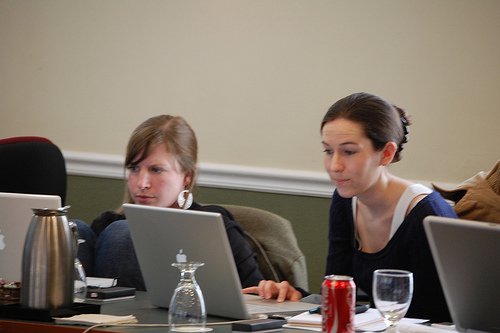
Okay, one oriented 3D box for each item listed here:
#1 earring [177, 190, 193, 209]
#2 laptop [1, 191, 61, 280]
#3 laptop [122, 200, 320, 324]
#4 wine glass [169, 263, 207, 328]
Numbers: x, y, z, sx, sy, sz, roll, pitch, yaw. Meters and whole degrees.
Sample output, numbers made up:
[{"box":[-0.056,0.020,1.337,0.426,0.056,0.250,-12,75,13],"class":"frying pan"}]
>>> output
[{"box":[-0.326,0.177,2.142,0.090,0.081,0.018,1,-2,-37],"class":"earring"},{"box":[-0.776,0.242,1.456,0.268,0.298,0.091,-5,-14,23],"class":"laptop"},{"box":[-0.118,0.273,1.427,0.458,0.306,0.417,2,-3,-43],"class":"laptop"},{"box":[-0.179,0.376,1.242,0.105,0.175,0.236,2,-13,-6],"class":"wine glass"}]
